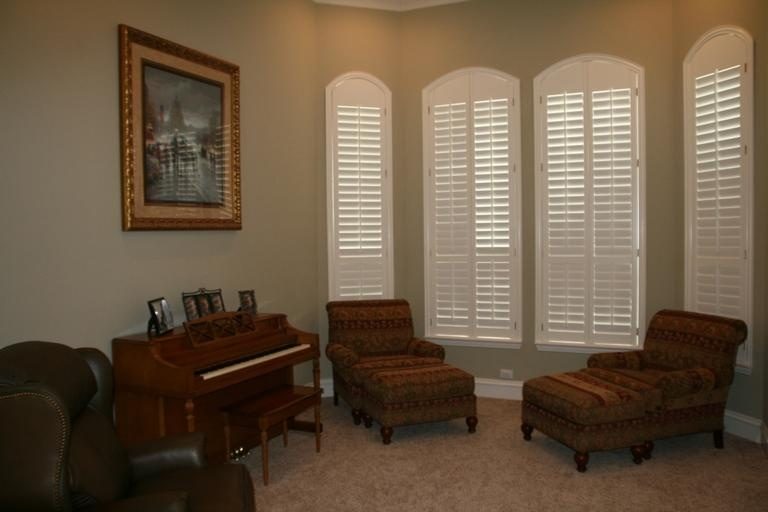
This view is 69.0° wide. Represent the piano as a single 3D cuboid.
[{"bbox_3d":[-1.439,1.131,4.764,0.717,1.137,1.346,-4,-1,32],"label":"piano"}]

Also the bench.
[{"bbox_3d":[-0.972,1.337,5.029,0.595,0.732,1.210,0,1,20],"label":"bench"}]

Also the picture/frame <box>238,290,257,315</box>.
[{"bbox_3d":[-1.301,0.454,5.466,0.200,0.269,0.140,-2,-15,-23],"label":"picture/frame"}]

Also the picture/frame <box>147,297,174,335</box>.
[{"bbox_3d":[-1.943,0.522,4.884,0.156,0.292,0.297,-10,1,6],"label":"picture/frame"}]

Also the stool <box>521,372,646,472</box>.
[{"bbox_3d":[1.845,1.408,5.092,0.778,0.501,0.787,0,4,-26],"label":"stool"}]
